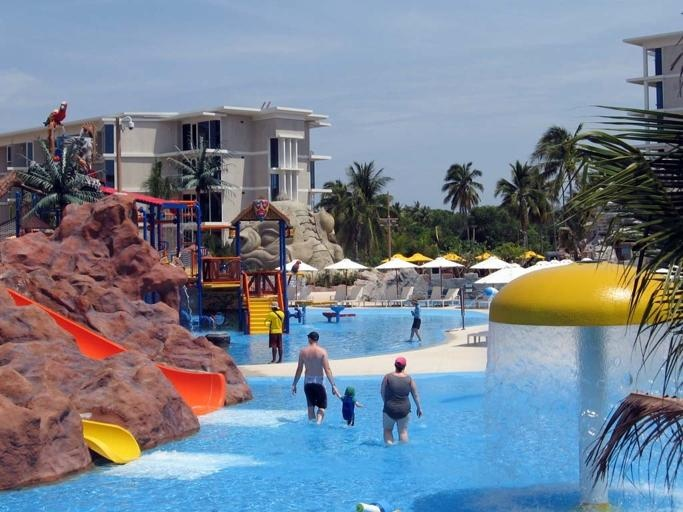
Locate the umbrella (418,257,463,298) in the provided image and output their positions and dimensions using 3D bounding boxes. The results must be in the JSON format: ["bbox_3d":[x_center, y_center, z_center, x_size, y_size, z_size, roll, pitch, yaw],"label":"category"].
[{"bbox_3d":[4.604,1.212,43.952,1.750,2.338,1.553,-4,1,-5],"label":"umbrella"}]

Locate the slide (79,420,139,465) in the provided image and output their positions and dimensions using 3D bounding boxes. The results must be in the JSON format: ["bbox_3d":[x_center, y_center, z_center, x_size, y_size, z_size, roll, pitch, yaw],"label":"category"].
[{"bbox_3d":[-3.412,2.733,14.416,0.822,0.626,0.293,-1,4,-3],"label":"slide"}]

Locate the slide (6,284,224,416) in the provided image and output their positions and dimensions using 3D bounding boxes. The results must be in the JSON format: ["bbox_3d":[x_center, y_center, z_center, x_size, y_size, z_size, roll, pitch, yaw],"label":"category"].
[{"bbox_3d":[-3.994,1.929,18.485,4.195,1.503,0.824,2,5,29],"label":"slide"}]

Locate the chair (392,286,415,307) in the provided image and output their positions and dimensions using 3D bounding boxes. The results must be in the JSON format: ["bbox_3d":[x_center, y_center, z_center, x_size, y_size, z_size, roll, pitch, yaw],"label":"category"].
[{"bbox_3d":[2.855,1.773,44.088,0.560,1.082,0.896,1,-5,32],"label":"chair"}]

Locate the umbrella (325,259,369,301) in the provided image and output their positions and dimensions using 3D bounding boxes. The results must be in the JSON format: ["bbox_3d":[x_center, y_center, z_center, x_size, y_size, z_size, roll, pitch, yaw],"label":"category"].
[{"bbox_3d":[0.147,0.440,46.335,1.662,1.873,1.765,-2,-3,32],"label":"umbrella"}]

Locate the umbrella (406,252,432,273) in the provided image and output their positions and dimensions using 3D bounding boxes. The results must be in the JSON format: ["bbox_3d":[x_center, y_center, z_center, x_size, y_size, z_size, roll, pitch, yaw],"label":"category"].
[{"bbox_3d":[3.866,0.213,49.219,0.979,0.903,1.077,0,0,-2],"label":"umbrella"}]

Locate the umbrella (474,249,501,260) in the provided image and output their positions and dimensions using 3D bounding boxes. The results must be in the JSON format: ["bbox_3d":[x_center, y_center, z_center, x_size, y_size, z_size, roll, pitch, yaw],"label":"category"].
[{"bbox_3d":[8.491,-0.280,58.560,0.864,0.500,0.937,-1,-7,-13],"label":"umbrella"}]

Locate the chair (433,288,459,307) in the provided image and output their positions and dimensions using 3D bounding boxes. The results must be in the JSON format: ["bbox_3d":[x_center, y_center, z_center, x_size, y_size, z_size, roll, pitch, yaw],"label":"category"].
[{"bbox_3d":[4.716,1.799,43.388,0.595,0.677,1.145,-1,-3,26],"label":"chair"}]

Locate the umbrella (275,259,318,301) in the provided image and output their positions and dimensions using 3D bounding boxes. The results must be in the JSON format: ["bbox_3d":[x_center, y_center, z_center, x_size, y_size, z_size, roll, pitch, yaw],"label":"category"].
[{"bbox_3d":[-2.156,1.169,48.478,1.629,2.526,1.537,-3,-1,39],"label":"umbrella"}]

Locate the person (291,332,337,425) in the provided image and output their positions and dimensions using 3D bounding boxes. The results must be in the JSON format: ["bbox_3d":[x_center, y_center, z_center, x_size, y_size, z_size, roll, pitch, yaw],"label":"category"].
[{"bbox_3d":[-0.427,1.995,16.233,0.616,1.649,0.823,0,0,5],"label":"person"}]

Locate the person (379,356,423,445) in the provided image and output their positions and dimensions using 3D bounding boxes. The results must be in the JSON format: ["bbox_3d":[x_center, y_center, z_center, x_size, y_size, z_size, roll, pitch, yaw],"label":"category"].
[{"bbox_3d":[0.914,2.237,15.001,0.592,1.440,0.813,0,4,3],"label":"person"}]

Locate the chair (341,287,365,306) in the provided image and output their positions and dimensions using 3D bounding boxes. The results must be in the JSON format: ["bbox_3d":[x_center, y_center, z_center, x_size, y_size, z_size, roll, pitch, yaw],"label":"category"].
[{"bbox_3d":[0.500,1.769,45.054,0.704,0.686,1.679,0,5,15],"label":"chair"}]
